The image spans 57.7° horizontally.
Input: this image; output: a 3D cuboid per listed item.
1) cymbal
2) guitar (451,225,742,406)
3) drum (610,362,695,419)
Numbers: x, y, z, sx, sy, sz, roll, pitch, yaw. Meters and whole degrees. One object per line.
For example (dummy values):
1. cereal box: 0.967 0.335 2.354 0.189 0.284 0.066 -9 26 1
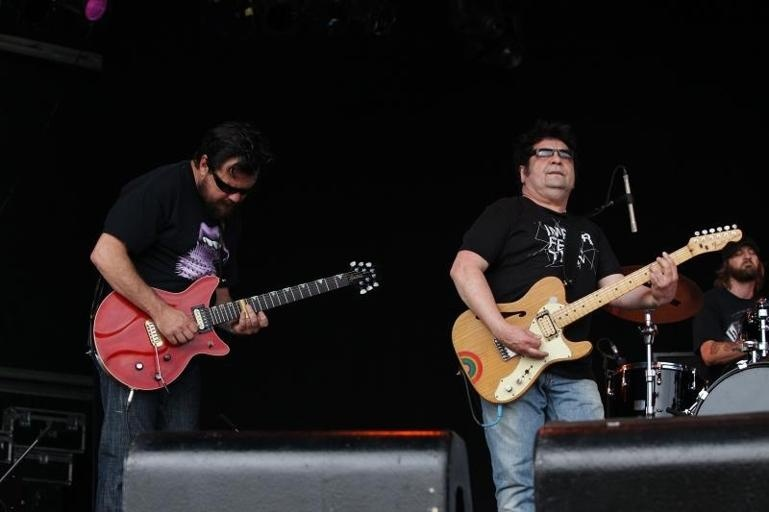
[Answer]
1. cymbal: 1.643 0.300 4.249 0.501 0.473 0.120 -14 -39 -1
2. guitar: 0.723 0.353 3.126 0.789 0.601 0.261 3 -3 -14
3. drum: 1.655 0.880 4.419 0.602 0.401 0.590 2 -9 0
